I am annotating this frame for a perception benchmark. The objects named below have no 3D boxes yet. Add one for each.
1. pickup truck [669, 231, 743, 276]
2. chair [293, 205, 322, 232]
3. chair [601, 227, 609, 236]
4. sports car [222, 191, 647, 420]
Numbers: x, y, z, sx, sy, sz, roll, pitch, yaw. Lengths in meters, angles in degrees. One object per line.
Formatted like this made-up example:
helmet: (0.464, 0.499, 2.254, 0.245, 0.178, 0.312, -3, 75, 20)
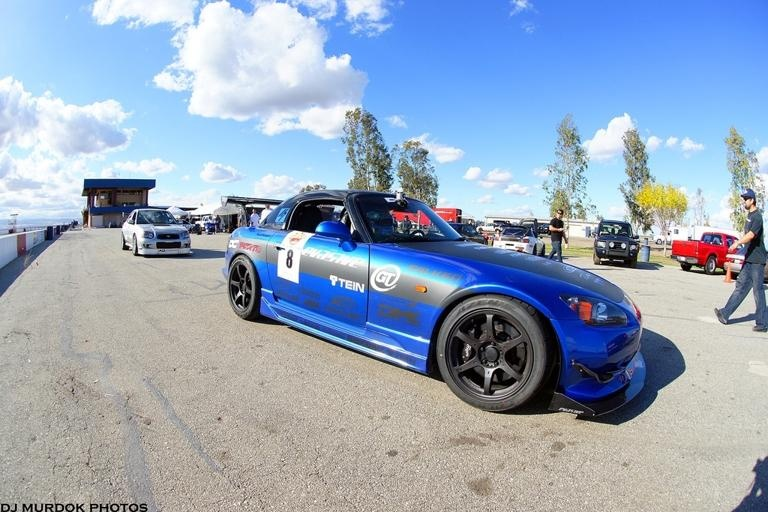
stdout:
pickup truck: (14.135, -0.069, 16.682, 3.476, 1.451, 1.369, -3, 9, -17)
chair: (-1.021, -0.448, 5.249, 0.311, 0.393, 0.405, 4, 6, -3)
chair: (9.709, -0.939, 17.091, 0.369, 0.376, 0.396, -1, -5, 30)
sports car: (0.312, 0.325, 4.248, 4.297, 1.990, 1.082, 7, 9, 33)
